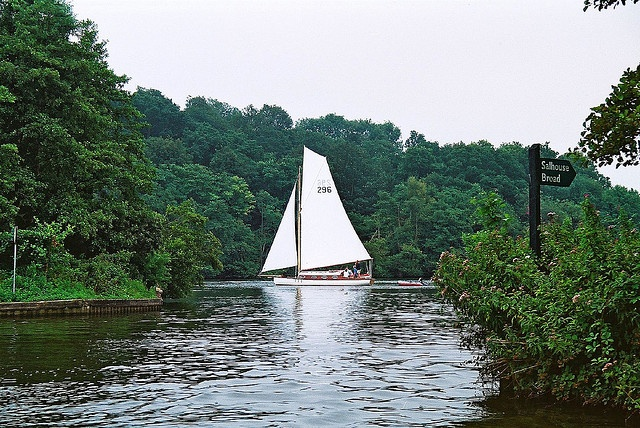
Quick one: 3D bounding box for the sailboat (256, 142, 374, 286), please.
[{"bbox_3d":[-0.287,0.486,65.403,9.601,14.353,6.257,1,0,-5],"label":"sailboat"}]
